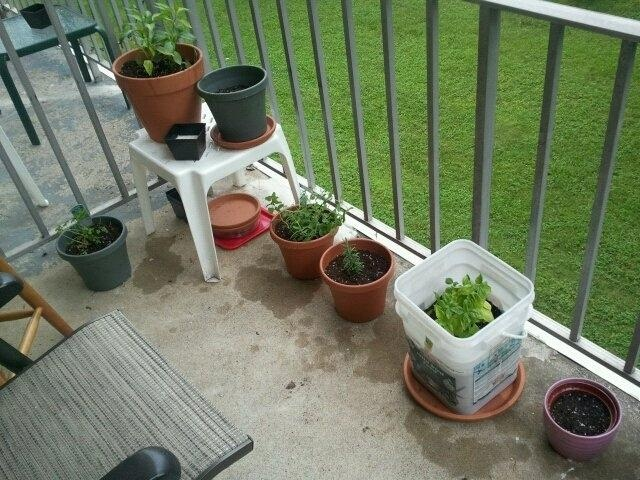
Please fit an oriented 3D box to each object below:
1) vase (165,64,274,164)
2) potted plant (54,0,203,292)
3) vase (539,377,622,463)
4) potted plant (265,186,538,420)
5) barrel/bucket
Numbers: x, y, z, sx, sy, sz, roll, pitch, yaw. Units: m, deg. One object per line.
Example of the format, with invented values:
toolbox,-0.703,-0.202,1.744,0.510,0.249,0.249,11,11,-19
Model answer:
vase,-0.436,-0.547,2.094,0.463,0.266,0.261,-16,45,-10
potted plant,-0.707,-0.527,2.287,0.458,0.980,0.849,-9,44,-4
vase,0.836,0.588,1.583,0.195,0.167,0.219,20,46,41
potted plant,0.274,0.262,1.901,0.320,0.304,0.876,-36,54,-25
barrel/bucket,0.490,0.323,1.671,0.397,0.350,0.322,-37,50,-20
